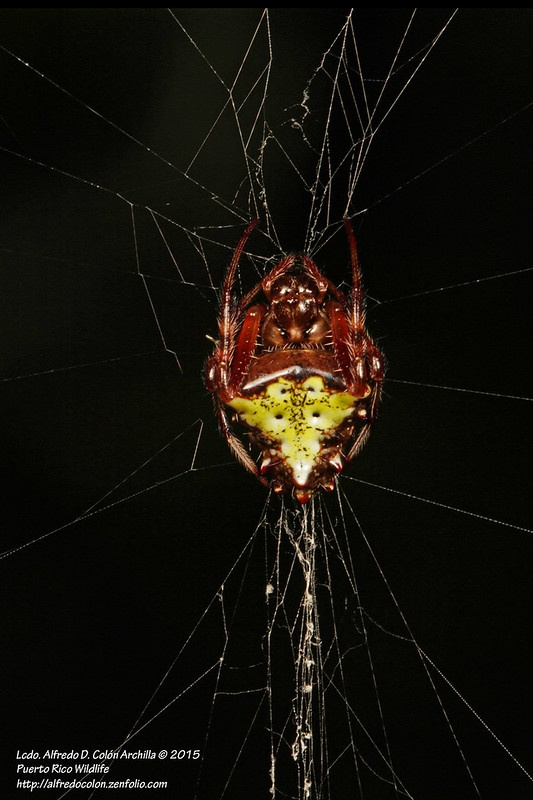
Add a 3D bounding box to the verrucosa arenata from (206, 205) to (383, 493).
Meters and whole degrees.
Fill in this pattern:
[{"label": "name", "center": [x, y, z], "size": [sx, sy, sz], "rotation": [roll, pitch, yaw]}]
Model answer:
[{"label": "verrucosa arenata", "center": [0.064, -0.081, 1.457], "size": [0.354, 0.150, 0.615], "rotation": [-4, -51, -3]}]
